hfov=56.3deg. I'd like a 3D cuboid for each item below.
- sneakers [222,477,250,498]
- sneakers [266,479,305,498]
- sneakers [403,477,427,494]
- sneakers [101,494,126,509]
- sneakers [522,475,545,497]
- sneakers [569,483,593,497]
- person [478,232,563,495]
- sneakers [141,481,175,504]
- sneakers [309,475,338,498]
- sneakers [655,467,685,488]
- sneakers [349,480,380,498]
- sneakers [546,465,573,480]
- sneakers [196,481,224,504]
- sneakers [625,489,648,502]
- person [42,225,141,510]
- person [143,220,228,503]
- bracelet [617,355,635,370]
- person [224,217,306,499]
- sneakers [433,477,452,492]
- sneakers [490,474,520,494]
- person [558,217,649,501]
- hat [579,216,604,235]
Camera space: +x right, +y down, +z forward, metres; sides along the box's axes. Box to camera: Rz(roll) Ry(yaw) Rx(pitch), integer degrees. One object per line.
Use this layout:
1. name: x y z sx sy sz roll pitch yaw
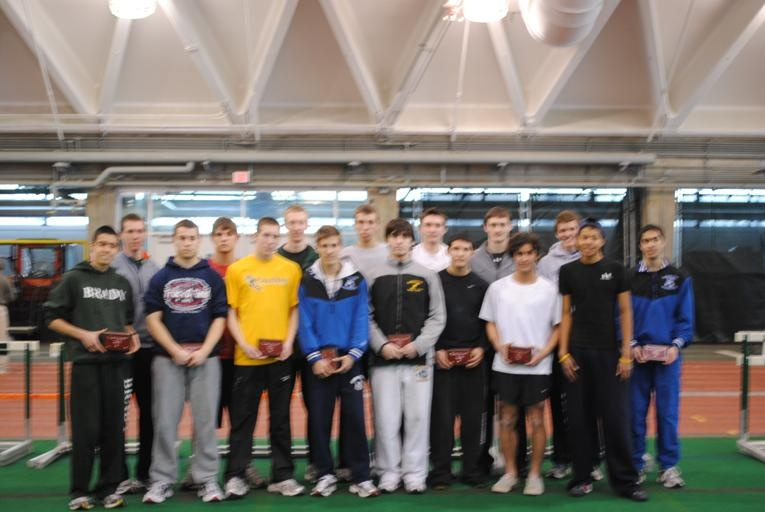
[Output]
1. sneakers: -1.811 2.841 8.834 0.288 0.218 0.157 -2 13 -10
2. sneakers: -1.202 2.860 8.881 0.384 0.130 0.202 -2 -4 24
3. sneakers: 0.394 2.832 8.867 0.259 0.105 0.138 11 47 12
4. sneakers: -3.258 2.955 8.632 0.171 0.089 0.215 -1 -1 -19
5. sneakers: 1.892 2.827 8.914 0.319 0.218 0.181 -3 13 -13
6. sneakers: 2.449 2.877 8.851 0.261 0.093 0.130 2 -3 -18
7. person: 1.732 1.320 8.994 1.018 3.127 0.947 0 13 -1
8. sneakers: -2.729 2.883 8.747 0.202 0.122 0.337 24 12 9
9. sneakers: -0.721 2.839 8.873 0.365 0.150 0.178 2 -12 -41
10. sneakers: 3.631 2.800 9.093 0.212 0.122 0.318 -1 -4 1
11. sneakers: -0.213 2.860 8.856 0.320 0.138 0.189 -5 -7 43
12. sneakers: 2.286 2.791 9.279 0.366 0.124 0.135 4 -10 -26
13. sneakers: -2.092 2.873 8.750 0.191 0.122 0.335 2 -6 -28
14. sneakers: 3.091 2.916 8.758 0.264 0.094 0.115 5 -6 -2
15. person: -3.472 1.334 8.684 0.976 3.295 1.035 -3 14 -12
16. person: -2.436 1.265 8.805 1.055 3.306 1.089 -2 14 -9
17. bracelet: 3.011 1.318 8.839 0.154 0.099 0.141 0 1 -3
18. person: -1.502 1.230 8.939 0.991 3.310 1.100 -1 14 -6
19. sneakers: 0.724 2.822 8.977 0.257 0.150 0.101 0 13 -1
20. sneakers: 1.522 2.829 8.973 0.409 0.141 0.160 4 -10 -42
21. person: 2.684 1.251 8.890 0.931 3.285 0.999 1 13 1
22. hat: 2.649 -0.390 9.074 0.204 0.209 0.259 4 11 16
